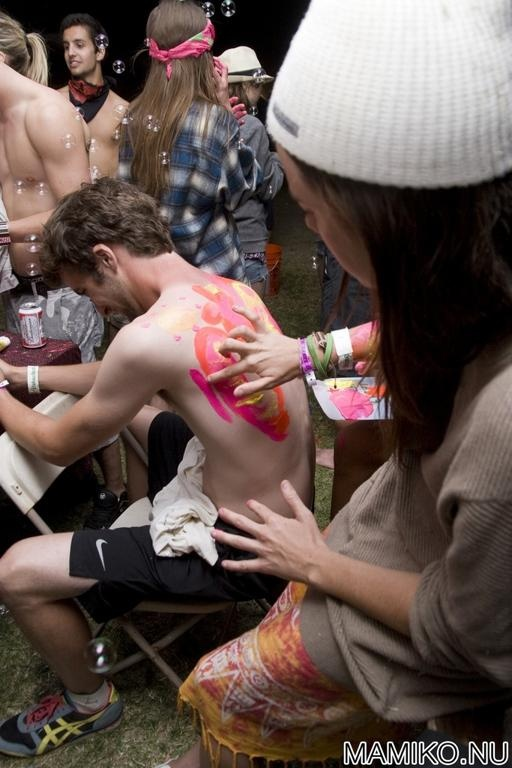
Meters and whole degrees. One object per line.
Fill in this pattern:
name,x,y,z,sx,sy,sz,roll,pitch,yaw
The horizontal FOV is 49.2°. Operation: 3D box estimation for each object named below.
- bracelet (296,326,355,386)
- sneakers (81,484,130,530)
bracelet,0.181,-0.081,1.481,0.072,0.128,0.173,8,3,28
sneakers,-0.610,0.506,2.293,0.078,0.110,0.242,20,58,28
